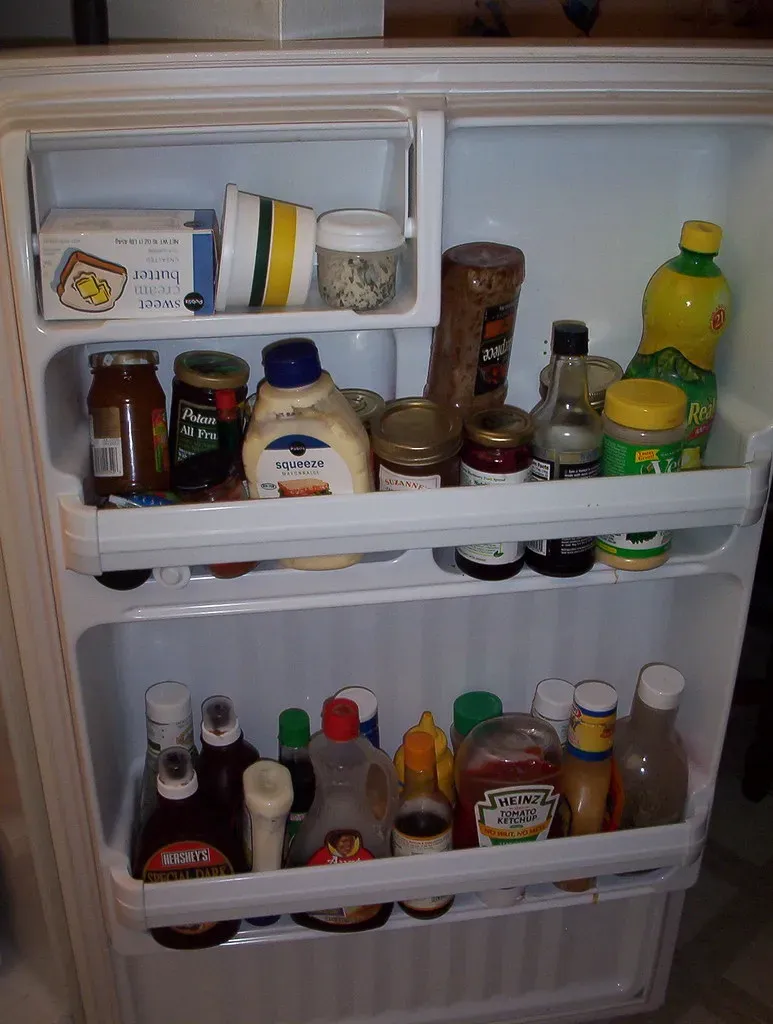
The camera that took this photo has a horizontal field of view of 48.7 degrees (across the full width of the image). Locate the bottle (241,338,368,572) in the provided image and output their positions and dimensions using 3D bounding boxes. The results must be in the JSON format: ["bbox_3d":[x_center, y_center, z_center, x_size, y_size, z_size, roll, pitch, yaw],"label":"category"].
[{"bbox_3d":[-0.067,-0.047,0.744,0.114,0.191,0.164,1,26,-1],"label":"bottle"}]

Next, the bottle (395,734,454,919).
[{"bbox_3d":[0.040,0.292,0.879,0.063,0.156,0.137,5,27,6],"label":"bottle"}]

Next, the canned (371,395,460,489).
[{"bbox_3d":[0.027,-0.060,0.779,0.076,0.081,0.077,1,37,3],"label":"canned"}]

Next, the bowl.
[{"bbox_3d":[-0.088,-0.187,0.630,0.065,0.088,0.089,3,-2,-12],"label":"bowl"}]

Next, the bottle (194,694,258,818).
[{"bbox_3d":[-0.168,0.254,0.883,0.040,0.135,0.053,-13,43,-15],"label":"bottle"}]

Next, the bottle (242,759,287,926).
[{"bbox_3d":[-0.118,0.308,0.841,0.045,0.129,0.075,-5,27,-13],"label":"bottle"}]

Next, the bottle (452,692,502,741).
[{"bbox_3d":[0.098,0.218,0.945,0.049,0.047,0.050,2,15,10],"label":"bottle"}]

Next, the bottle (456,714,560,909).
[{"bbox_3d":[0.129,0.300,0.913,0.112,0.128,0.110,1,26,-2],"label":"bottle"}]

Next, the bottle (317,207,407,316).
[{"bbox_3d":[-0.022,-0.194,0.693,0.074,0.070,0.075,-13,40,-16],"label":"bottle"}]

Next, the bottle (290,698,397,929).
[{"bbox_3d":[-0.041,0.319,0.882,0.121,0.230,0.064,-2,8,-2],"label":"bottle"}]

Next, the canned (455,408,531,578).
[{"bbox_3d":[0.097,-0.005,0.763,0.066,0.149,0.112,3,26,2],"label":"canned"}]

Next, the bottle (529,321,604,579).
[{"bbox_3d":[0.171,-0.065,0.800,0.073,0.224,0.201,6,27,8],"label":"bottle"}]

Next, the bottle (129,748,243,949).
[{"bbox_3d":[-0.196,0.329,0.846,0.108,0.204,0.057,-5,15,-6],"label":"bottle"}]

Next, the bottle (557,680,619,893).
[{"bbox_3d":[0.223,0.261,0.931,0.056,0.189,0.088,10,27,16],"label":"bottle"}]
